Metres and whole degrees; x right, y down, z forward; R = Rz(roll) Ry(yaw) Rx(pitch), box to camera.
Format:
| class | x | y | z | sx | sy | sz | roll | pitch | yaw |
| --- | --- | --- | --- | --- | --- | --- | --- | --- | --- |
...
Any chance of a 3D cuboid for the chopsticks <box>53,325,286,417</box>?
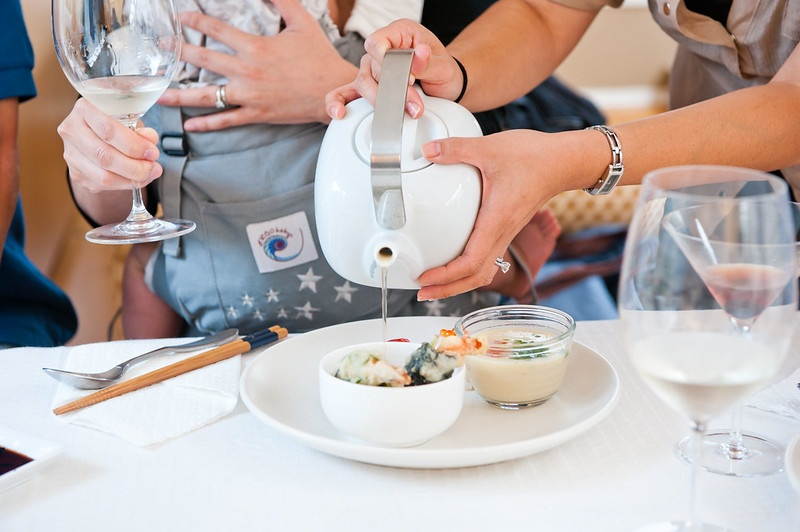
| class | x | y | z | sx | sy | sz | roll | pitch | yaw |
| --- | --- | --- | --- | --- | --- | --- | --- | --- | --- |
| chopsticks | -0.332 | 0.159 | 1.020 | 0.271 | 0.020 | 0.020 | -21 | 77 | -35 |

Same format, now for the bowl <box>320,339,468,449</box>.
| class | x | y | z | sx | sy | sz | roll | pitch | yaw |
| --- | --- | --- | --- | --- | --- | --- | --- | --- | --- |
| bowl | -0.009 | 0.169 | 0.938 | 0.202 | 0.106 | 0.213 | 2 | 15 | -1 |

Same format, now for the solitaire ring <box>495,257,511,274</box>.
| class | x | y | z | sx | sy | sz | roll | pitch | yaw |
| --- | --- | --- | --- | --- | --- | --- | --- | --- | --- |
| solitaire ring | 0.174 | 0.000 | 1.177 | 0.027 | 0.012 | 0.031 | -2 | 19 | -26 |

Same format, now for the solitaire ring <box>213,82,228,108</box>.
| class | x | y | z | sx | sy | sz | roll | pitch | yaw |
| --- | --- | --- | --- | --- | --- | --- | --- | --- | --- |
| solitaire ring | -0.326 | -0.315 | 1.261 | 0.013 | 0.038 | 0.027 | 1 | -3 | -1 |

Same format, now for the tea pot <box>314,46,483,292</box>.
| class | x | y | z | sx | sy | sz | roll | pitch | yaw |
| --- | --- | --- | --- | --- | --- | --- | --- | --- | --- |
| tea pot | 0.026 | -0.156 | 0.971 | 0.205 | 0.318 | 0.270 | 4 | -17 | 2 |

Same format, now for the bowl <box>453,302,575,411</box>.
| class | x | y | z | sx | sy | sz | roll | pitch | yaw |
| --- | --- | --- | --- | --- | --- | --- | --- | --- | --- |
| bowl | 0.159 | 0.113 | 0.968 | 0.142 | 0.097 | 0.145 | -3 | 16 | 1 |
